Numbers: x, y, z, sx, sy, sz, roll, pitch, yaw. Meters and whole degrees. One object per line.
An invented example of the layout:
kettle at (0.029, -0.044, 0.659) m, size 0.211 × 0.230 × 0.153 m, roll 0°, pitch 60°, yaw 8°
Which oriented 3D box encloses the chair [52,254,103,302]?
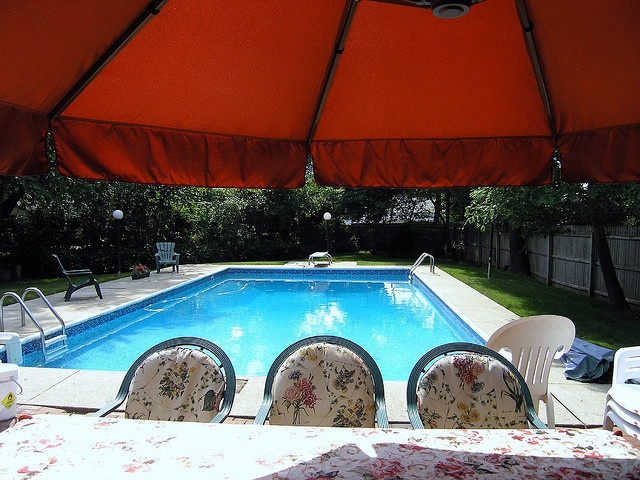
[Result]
chair at (-5.403, 0.826, 9.209) m, size 1.080 × 0.972 × 0.821 m, roll 1°, pitch -3°, yaw -42°

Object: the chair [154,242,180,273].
chair at (-5.236, 0.574, 14.061) m, size 0.746 × 1.094 × 0.997 m, roll -1°, pitch -2°, yaw -21°

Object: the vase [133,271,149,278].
vase at (-5.485, 1.055, 12.609) m, size 0.503 × 0.233 × 0.356 m, roll 3°, pitch -3°, yaw -36°

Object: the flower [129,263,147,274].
flower at (-5.589, 0.874, 12.574) m, size 0.386 × 0.317 × 0.412 m, roll 2°, pitch -2°, yaw -5°
